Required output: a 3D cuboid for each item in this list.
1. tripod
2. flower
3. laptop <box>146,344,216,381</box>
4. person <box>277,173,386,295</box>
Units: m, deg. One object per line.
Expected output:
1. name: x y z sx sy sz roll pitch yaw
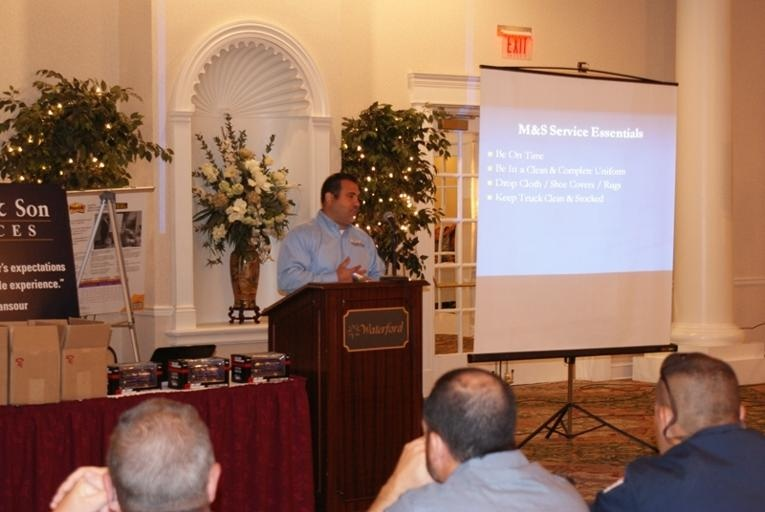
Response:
1. tripod: 1.633 1.176 5.856 1.101 0.998 0.885 -6 -19 30
2. flower: -1.339 -0.582 6.435 0.886 1.376 0.905 8 -11 -30
3. laptop: -1.369 0.666 4.513 0.260 0.180 0.236 1 -3 -38
4. person: -0.346 -0.123 5.124 0.907 1.016 0.551 9 -15 -36
